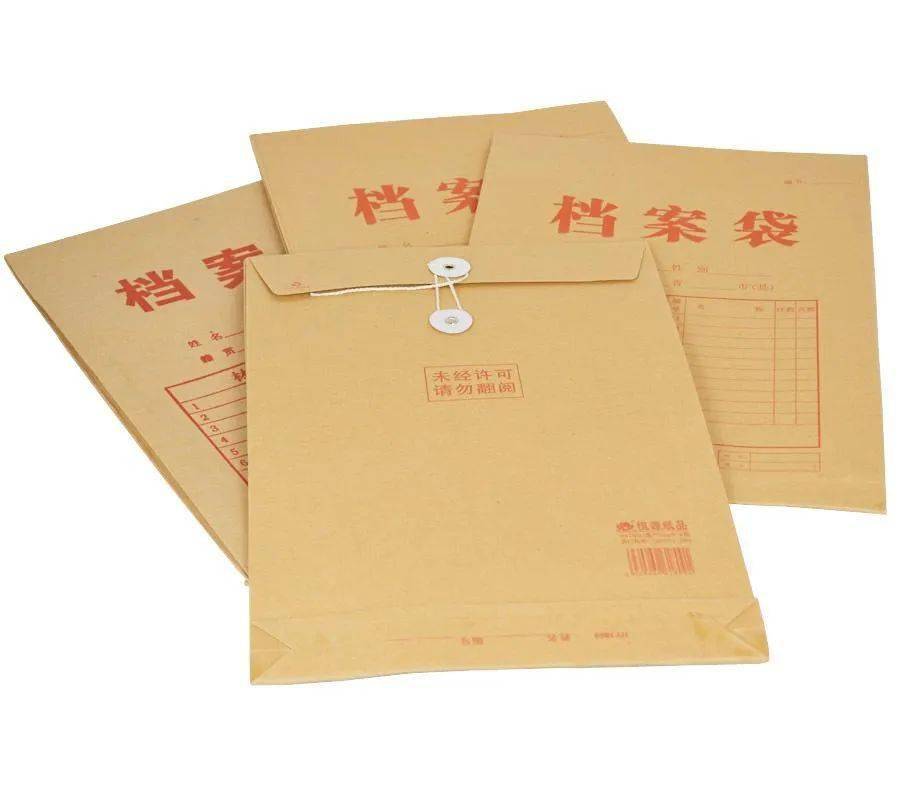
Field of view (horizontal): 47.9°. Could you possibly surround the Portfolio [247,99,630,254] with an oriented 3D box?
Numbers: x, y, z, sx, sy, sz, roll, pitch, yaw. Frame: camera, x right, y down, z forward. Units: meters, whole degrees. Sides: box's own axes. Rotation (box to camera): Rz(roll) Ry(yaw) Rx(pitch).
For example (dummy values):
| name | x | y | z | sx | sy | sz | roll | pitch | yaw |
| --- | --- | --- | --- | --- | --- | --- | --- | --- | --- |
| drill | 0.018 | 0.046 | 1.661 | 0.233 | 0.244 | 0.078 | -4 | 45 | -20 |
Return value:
| name | x | y | z | sx | sy | sz | roll | pitch | yaw |
| --- | --- | --- | --- | --- | --- | --- | --- | --- | --- |
| Portfolio | -0.009 | -0.417 | 2.119 | 0.819 | 0.287 | 0.017 | 2 | 23 | 22 |
